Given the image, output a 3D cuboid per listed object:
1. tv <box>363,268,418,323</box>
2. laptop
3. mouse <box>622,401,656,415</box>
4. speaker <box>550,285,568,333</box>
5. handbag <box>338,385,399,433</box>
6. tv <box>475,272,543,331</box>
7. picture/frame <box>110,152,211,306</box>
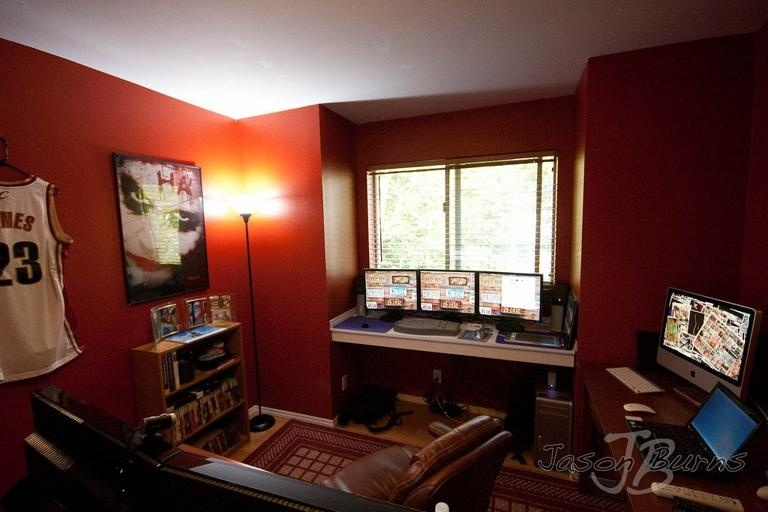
[{"bbox_3d":[0.063,0.357,4.990,0.472,0.405,0.177,3,11,18],"label":"tv"},{"bbox_3d":[1.835,1.080,3.243,0.563,0.361,0.539,0,20,0],"label":"laptop"},{"bbox_3d":[1.684,1.003,3.527,0.137,0.030,0.078,-2,7,15],"label":"mouse"},{"bbox_3d":[1.494,0.431,4.523,0.140,0.407,0.094,0,7,14],"label":"speaker"},{"bbox_3d":[-0.113,1.403,4.936,0.308,0.184,0.416,-4,0,39],"label":"handbag"},{"bbox_3d":[1.091,0.380,4.617,0.512,0.382,0.052,3,6,28],"label":"tv"},{"bbox_3d":[-1.770,-0.234,4.295,0.091,1.152,0.712,4,8,37],"label":"picture/frame"}]
